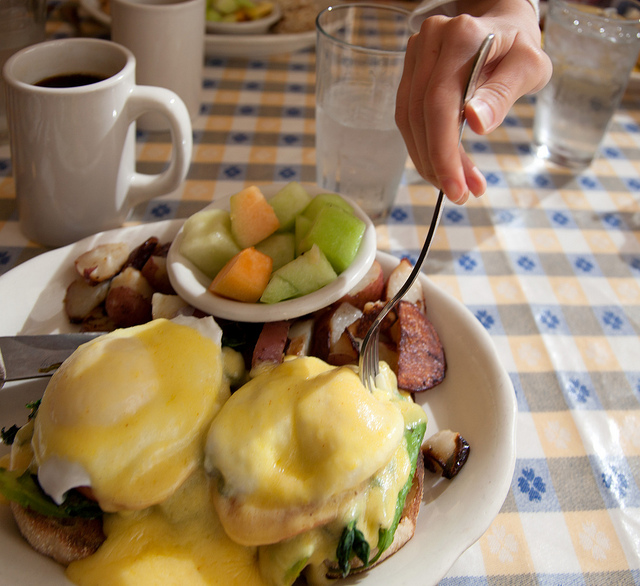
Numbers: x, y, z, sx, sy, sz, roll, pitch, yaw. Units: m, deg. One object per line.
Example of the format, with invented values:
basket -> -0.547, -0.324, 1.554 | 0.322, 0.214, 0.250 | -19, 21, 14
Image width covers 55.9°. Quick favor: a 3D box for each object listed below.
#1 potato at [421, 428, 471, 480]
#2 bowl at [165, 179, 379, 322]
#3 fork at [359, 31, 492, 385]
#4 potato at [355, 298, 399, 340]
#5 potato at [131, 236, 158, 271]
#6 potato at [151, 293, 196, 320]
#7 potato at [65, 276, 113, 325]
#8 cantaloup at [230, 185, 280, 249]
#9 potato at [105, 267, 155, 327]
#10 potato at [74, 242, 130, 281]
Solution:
potato -> 0.150, 0.189, 0.749 | 0.055, 0.054, 0.065 | 6, 10, -2
bowl -> -0.062, -0.063, 0.851 | 0.300, 0.104, 0.224 | -16, 58, -21
fork -> 0.160, -0.122, 0.924 | 0.071, 0.638, 0.067 | 18, 6, 37
potato -> 0.080, 0.032, 0.832 | 0.013, 0.055, 0.051 | 29, 34, 19
potato -> -0.264, -0.059, 0.910 | 0.012, 0.027, 0.054 | 39, 65, -21
potato -> -0.205, 0.019, 0.827 | 0.036, 0.014, 0.046 | -9, 48, -3
potato -> -0.342, 0.010, 0.876 | 0.054, 0.070, 0.069 | 15, 25, 27
cantaloup -> -0.099, -0.112, 0.867 | 0.078, 0.056, 0.072 | -33, 64, -29
potato -> -0.269, 0.006, 0.855 | 0.067, 0.035, 0.094 | -6, 55, -14
potato -> -0.312, -0.046, 0.874 | 0.046, 0.017, 0.069 | 49, 48, 6
